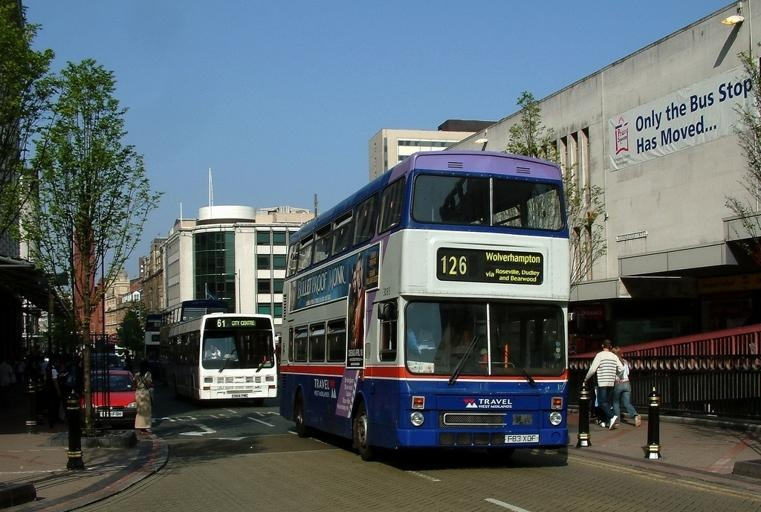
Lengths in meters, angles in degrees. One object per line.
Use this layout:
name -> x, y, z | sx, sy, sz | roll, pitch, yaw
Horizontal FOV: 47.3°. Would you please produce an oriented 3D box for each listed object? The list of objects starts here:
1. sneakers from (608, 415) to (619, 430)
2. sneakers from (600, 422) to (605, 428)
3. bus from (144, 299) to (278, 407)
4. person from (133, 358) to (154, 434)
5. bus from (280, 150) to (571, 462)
sneakers -> 6.749, 4.821, 25.286 | 0.178, 0.212, 0.513 | -8, -39, -27
sneakers -> 6.586, 4.994, 25.818 | 0.089, 0.108, 0.248 | 1, -13, -2
bus -> -7.507, 4.723, 40.197 | 3.344, 4.247, 10.335 | 2, -9, -16
person -> -7.452, 4.405, 27.403 | 0.522, 1.569, 0.859 | -1, -1, -17
bus -> 1.294, 1.401, 20.180 | 2.846, 4.137, 7.610 | 1, -5, -18
